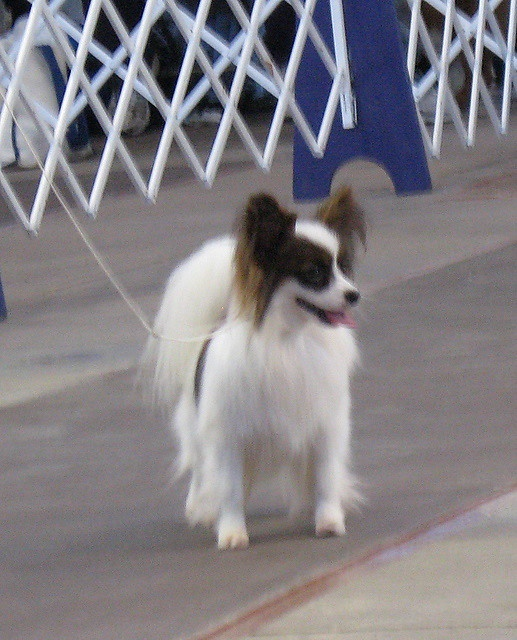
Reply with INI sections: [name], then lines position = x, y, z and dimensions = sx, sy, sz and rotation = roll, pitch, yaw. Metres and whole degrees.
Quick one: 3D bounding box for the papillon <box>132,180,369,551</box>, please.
[papillon]
position = -0.022, 0.109, 2.128
dimensions = 0.537, 0.841, 0.351
rotation = 2, 7, 6
